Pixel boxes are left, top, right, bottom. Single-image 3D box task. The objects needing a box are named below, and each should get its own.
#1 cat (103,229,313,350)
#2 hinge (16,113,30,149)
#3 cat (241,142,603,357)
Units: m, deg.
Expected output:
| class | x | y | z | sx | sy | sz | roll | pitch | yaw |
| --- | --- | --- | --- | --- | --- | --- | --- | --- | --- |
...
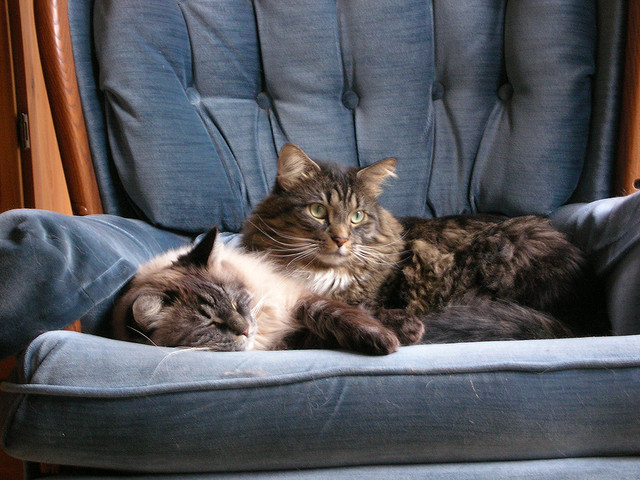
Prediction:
| class | x | y | z | sx | sy | sz | roll | pitch | yaw |
| --- | --- | --- | --- | --- | --- | --- | --- | --- | --- |
| cat | -0.274 | 0.148 | 1.582 | 0.295 | 0.140 | 0.388 | 2 | 16 | -18 |
| hinge | -1.221 | -0.445 | 2.683 | 0.049 | 0.146 | 0.032 | 7 | 13 | 33 |
| cat | 0.271 | 0.063 | 1.752 | 0.777 | 0.415 | 0.548 | 1 | 3 | -22 |
